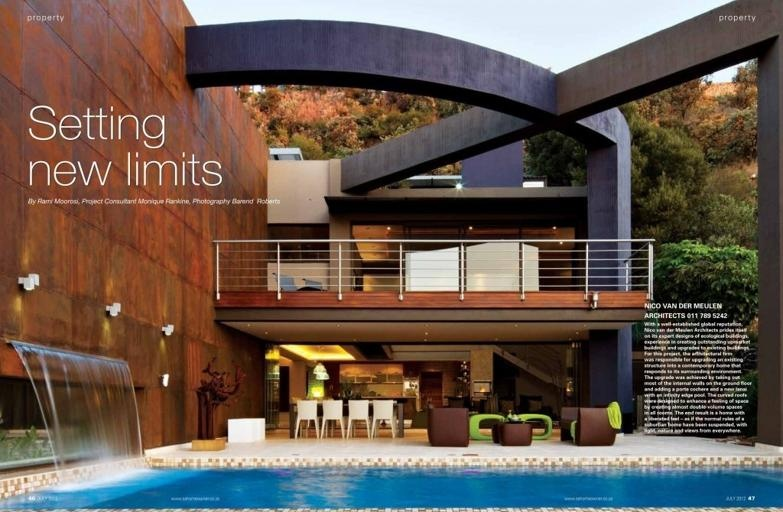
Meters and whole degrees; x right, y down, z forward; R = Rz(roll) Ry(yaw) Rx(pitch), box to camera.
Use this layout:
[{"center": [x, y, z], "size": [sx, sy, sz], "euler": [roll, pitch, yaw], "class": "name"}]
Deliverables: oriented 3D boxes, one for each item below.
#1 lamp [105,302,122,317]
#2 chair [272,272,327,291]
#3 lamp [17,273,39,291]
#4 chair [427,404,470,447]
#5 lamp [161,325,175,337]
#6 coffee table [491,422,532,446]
[{"center": [-4.740, 0.904, 15.488], "size": [0.076, 0.245, 0.230], "euler": [-3, 0, 16], "class": "lamp"}, {"center": [-2.176, 0.664, 21.429], "size": [0.935, 0.392, 0.597], "euler": [1, -2, -10], "class": "chair"}, {"center": [-5.486, 0.393, 13.814], "size": [0.233, 0.221, 0.245], "euler": [0, 1, -13], "class": "lamp"}, {"center": [1.121, 3.359, 18.102], "size": [0.690, 0.684, 0.741], "euler": [0, -10, 2], "class": "chair"}, {"center": [-4.215, 1.389, 17.165], "size": [0.184, 0.210, 0.045], "euler": [-4, 6, -40], "class": "lamp"}, {"center": [2.341, 3.567, 18.286], "size": [0.499, 0.491, 0.975], "euler": [5, -13, -36], "class": "coffee table"}]
